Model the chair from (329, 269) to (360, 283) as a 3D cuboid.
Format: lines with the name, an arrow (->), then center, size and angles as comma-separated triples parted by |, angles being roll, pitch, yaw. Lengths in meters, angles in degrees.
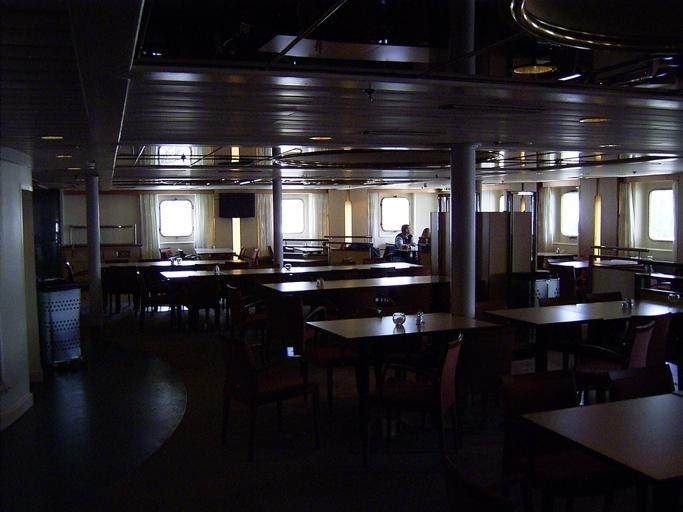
chair -> 0.019, 0.346, 10.302 | 0.360, 0.259, 0.197 | -2, 12, 0

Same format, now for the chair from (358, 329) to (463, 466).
chair -> 0.865, 1.273, 5.626 | 1.011, 1.492, 1.082 | 0, -4, 17

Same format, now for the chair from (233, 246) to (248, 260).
chair -> -3.278, -0.104, 18.254 | 0.433, 0.636, 0.379 | 8, 1, -25

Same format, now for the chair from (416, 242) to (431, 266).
chair -> 2.153, -0.035, 14.600 | 0.297, 0.472, 0.859 | -1, 6, 5

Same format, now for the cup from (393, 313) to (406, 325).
cup -> 0.606, 0.653, 5.929 | 0.120, 0.111, 0.098 | -8, -11, 39

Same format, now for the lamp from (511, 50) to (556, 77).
lamp -> 1.748, -1.737, 5.072 | 0.257, 0.066, 0.261 | 0, 3, -2

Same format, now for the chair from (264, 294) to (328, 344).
chair -> -0.570, 0.769, 7.087 | 0.504, 0.703, 0.553 | 1, 4, 29

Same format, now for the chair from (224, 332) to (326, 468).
chair -> -0.709, 1.285, 5.559 | 0.778, 1.108, 0.888 | 0, 0, 38

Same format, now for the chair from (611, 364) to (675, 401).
chair -> 2.242, 0.952, 4.204 | 0.314, 0.422, 0.353 | 1, -6, -9

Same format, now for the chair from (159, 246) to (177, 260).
chair -> -5.294, -0.096, 17.082 | 0.389, 0.490, 0.400 | -4, -5, 43

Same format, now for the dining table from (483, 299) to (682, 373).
dining table -> 2.615, 1.064, 6.306 | 2.064, 0.511, 0.791 | -5, 9, -26

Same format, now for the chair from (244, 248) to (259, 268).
chair -> -2.604, 0.049, 16.263 | 0.467, 0.747, 0.535 | 1, 0, -17

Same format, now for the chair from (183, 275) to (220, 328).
chair -> -2.561, 0.823, 10.263 | 0.764, 1.125, 0.806 | -1, 5, -13
